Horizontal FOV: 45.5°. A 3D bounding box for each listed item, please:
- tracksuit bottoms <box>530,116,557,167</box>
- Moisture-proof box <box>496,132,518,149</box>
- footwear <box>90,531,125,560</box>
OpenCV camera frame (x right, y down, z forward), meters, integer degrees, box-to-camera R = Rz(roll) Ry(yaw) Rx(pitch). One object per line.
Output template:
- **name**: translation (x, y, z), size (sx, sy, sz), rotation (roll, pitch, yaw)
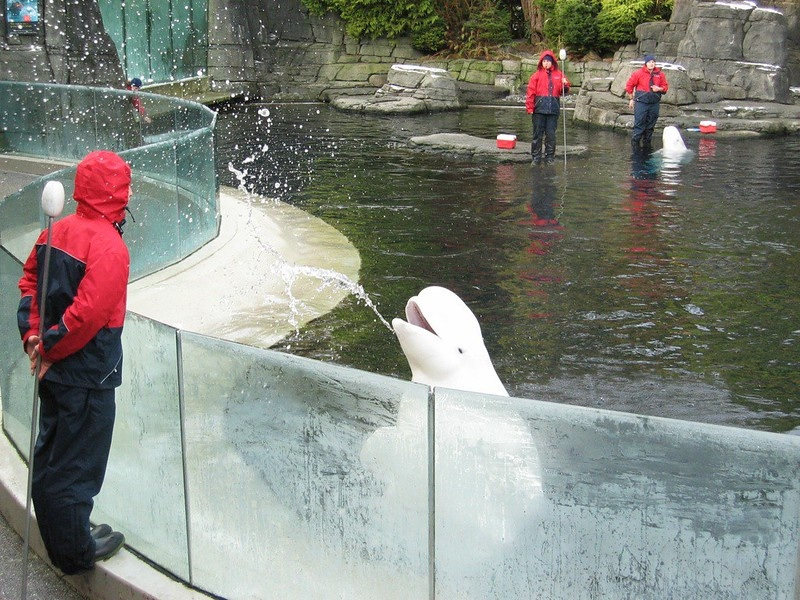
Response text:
- **tracksuit bottoms**: translation (2.120, -2.497, 13.926), size (0.350, 1.117, 0.295), rotation (1, 50, 7)
- **Moisture-proof box**: translation (1.664, -2.459, 14.898), size (0.344, 0.225, 0.261), rotation (6, 18, 18)
- **footwear**: translation (-1.296, 1.098, 4.240), size (0.148, 0.054, 0.057), rotation (-38, 73, -17)
